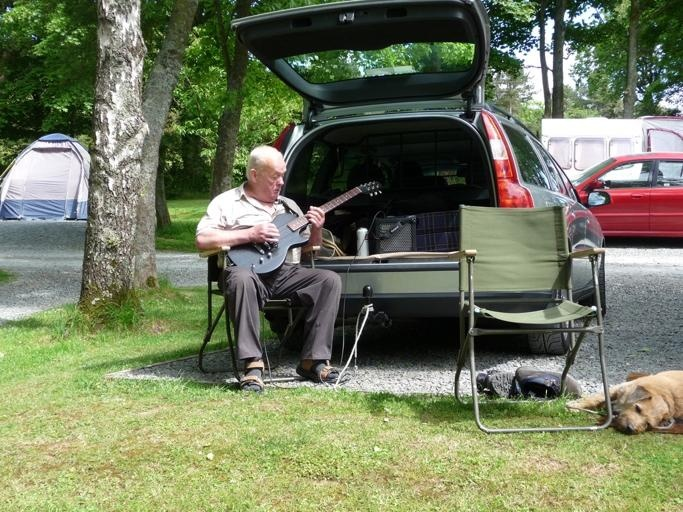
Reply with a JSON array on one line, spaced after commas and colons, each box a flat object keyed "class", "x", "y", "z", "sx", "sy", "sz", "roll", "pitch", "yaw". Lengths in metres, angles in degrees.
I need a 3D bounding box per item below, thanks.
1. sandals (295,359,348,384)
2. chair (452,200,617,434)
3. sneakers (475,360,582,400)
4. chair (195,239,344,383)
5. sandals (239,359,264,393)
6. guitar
[{"class": "sandals", "x": -0.150, "y": 0.779, "z": 4.642, "sx": 0.312, "sy": 0.120, "sz": 0.131, "roll": 2, "pitch": 5, "yaw": 24}, {"class": "chair", "x": 1.084, "y": 0.305, "z": 3.973, "sx": 0.970, "sy": 1.225, "sz": 0.996, "roll": -3, "pitch": 3, "yaw": -19}, {"class": "sneakers", "x": 1.176, "y": 0.782, "z": 4.229, "sx": 0.494, "sy": 0.143, "sz": 0.238, "roll": 0, "pitch": 41, "yaw": 11}, {"class": "chair", "x": -0.509, "y": 0.256, "z": 4.855, "sx": 0.892, "sy": 1.190, "sz": 1.058, "roll": 5, "pitch": -9, "yaw": -33}, {"class": "sandals", "x": -0.592, "y": 0.769, "z": 4.408, "sx": 0.150, "sy": 0.180, "sz": 0.218, "roll": -1, "pitch": 6, "yaw": -8}, {"class": "guitar", "x": -0.256, "y": -0.212, "z": 4.968, "sx": 0.445, "sy": 0.140, "sz": 1.214, "roll": 42, "pitch": 43, "yaw": 16}]
